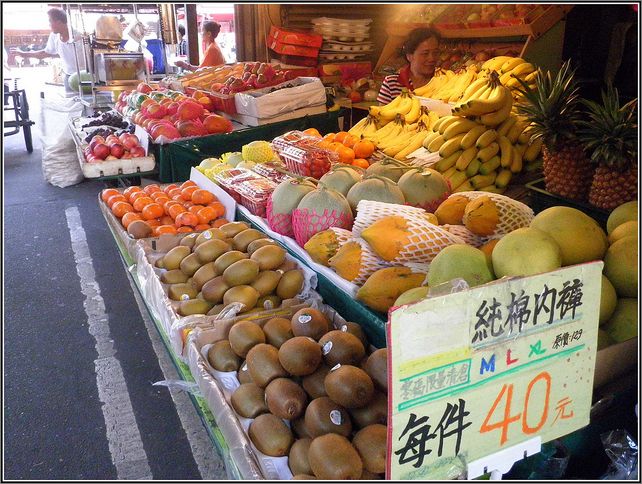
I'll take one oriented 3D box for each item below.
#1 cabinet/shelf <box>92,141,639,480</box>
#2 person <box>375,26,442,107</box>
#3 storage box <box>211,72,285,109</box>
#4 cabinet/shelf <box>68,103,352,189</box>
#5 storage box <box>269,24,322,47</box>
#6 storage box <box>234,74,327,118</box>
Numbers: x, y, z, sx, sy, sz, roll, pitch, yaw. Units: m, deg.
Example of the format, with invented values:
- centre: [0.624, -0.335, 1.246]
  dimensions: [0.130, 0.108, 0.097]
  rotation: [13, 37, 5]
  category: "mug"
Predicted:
- centre: [-0.337, 0.471, 2.696]
  dimensions: [1.317, 0.388, 1.931]
  rotation: [-13, 32, -22]
  category: "cabinet/shelf"
- centre: [1.136, -2.141, 5.323]
  dimensions: [0.805, 1.208, 0.712]
  rotation: [-8, 26, -15]
  category: "person"
- centre: [-0.982, -1.938, 5.158]
  dimensions: [0.719, 0.215, 0.647]
  rotation: [-26, 33, -12]
  category: "storage box"
- centre: [-1.033, -1.032, 4.241]
  dimensions: [1.538, 0.366, 1.458]
  rotation: [-18, 25, -26]
  category: "cabinet/shelf"
- centre: [-0.399, -3.502, 7.149]
  dimensions: [0.885, 0.342, 0.316]
  rotation: [-5, 21, -6]
  category: "storage box"
- centre: [-0.443, -1.627, 4.877]
  dimensions: [0.922, 0.290, 0.721]
  rotation: [-24, 34, -25]
  category: "storage box"
